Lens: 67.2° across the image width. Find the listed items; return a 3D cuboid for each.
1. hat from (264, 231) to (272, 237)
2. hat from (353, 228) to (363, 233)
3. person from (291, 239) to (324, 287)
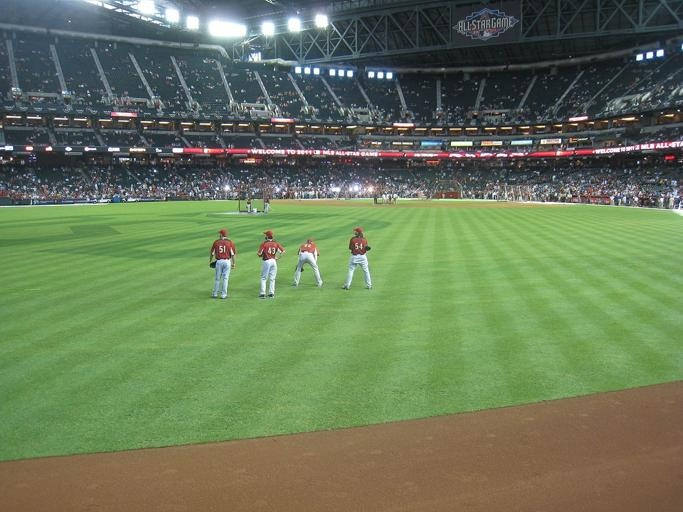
[{"bbox_3d":[-1.943,-0.587,13.620,0.229,0.179,0.343,-4,2,1],"label":"hat"},{"bbox_3d":[0.466,-0.747,14.676,0.227,0.154,0.280,-1,3,-12],"label":"hat"},{"bbox_3d":[-1.048,0.031,16.080,0.863,1.399,2.625,-1,11,-2],"label":"person"}]
